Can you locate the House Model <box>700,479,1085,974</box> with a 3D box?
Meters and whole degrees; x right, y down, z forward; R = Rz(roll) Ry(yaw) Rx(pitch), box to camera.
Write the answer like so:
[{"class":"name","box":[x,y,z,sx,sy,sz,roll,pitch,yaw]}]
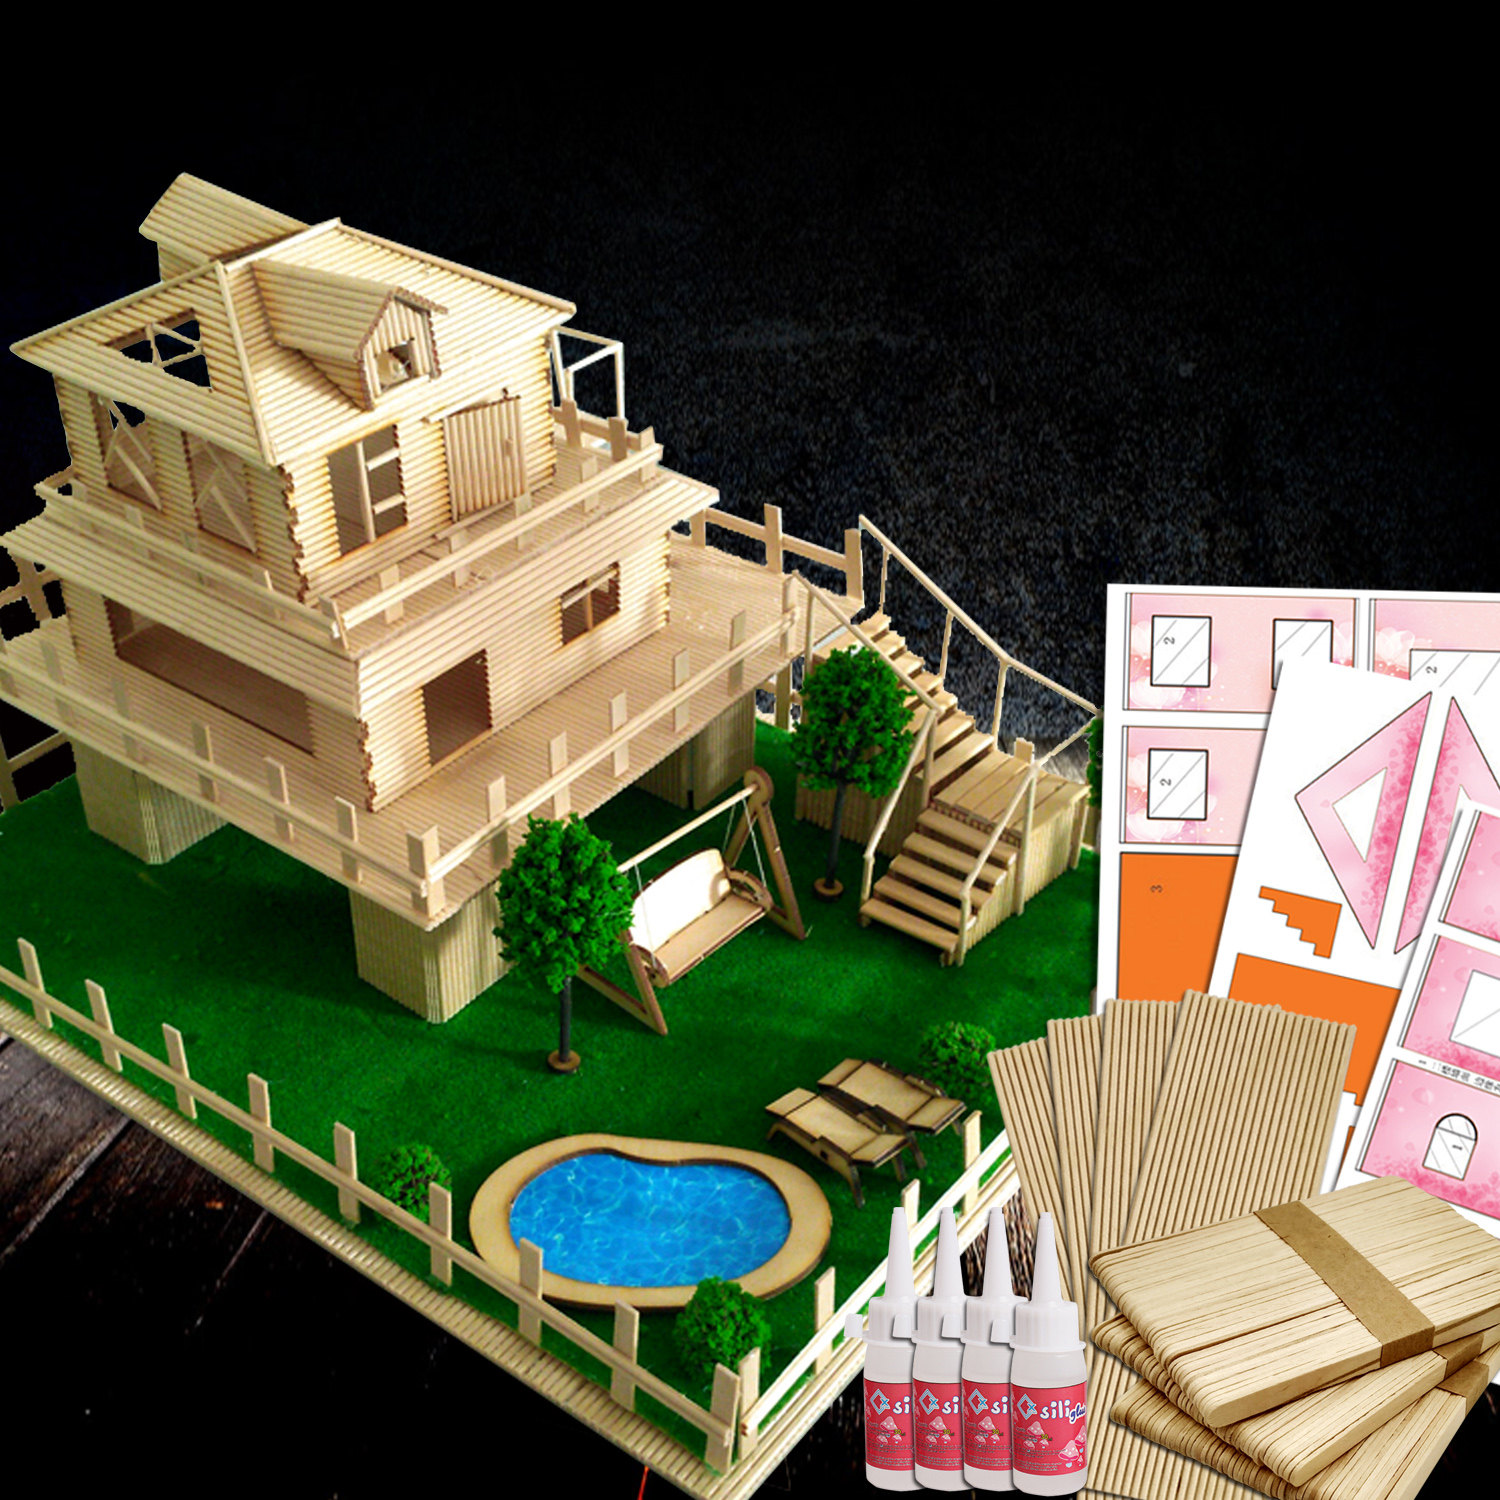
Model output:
[{"class":"House Model","box":[2.029,-0.623,24.086,4.483,3.565,8.282,-17,41,-37]}]
